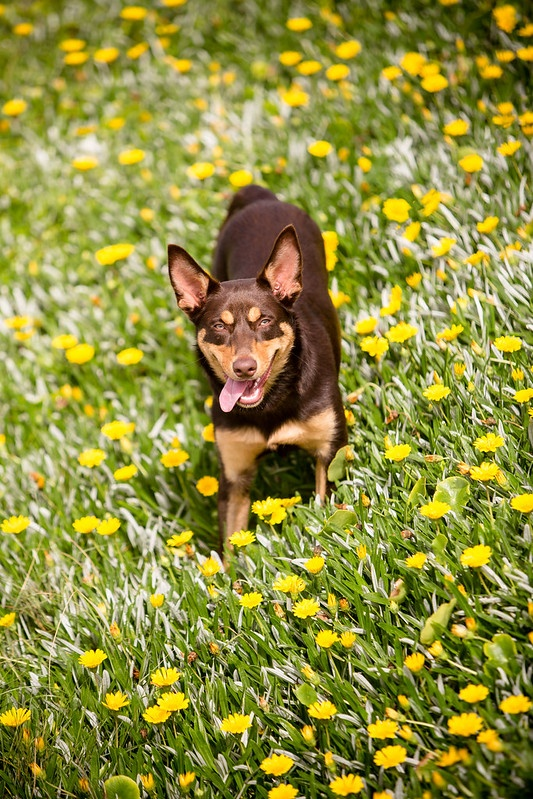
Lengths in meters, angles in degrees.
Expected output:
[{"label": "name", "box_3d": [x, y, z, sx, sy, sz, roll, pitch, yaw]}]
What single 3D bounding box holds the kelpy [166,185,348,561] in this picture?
[{"label": "kelpy", "box_3d": [-0.012, -0.223, 3.506, 0.704, 1.235, 1.524, -2, 35, 3]}]
